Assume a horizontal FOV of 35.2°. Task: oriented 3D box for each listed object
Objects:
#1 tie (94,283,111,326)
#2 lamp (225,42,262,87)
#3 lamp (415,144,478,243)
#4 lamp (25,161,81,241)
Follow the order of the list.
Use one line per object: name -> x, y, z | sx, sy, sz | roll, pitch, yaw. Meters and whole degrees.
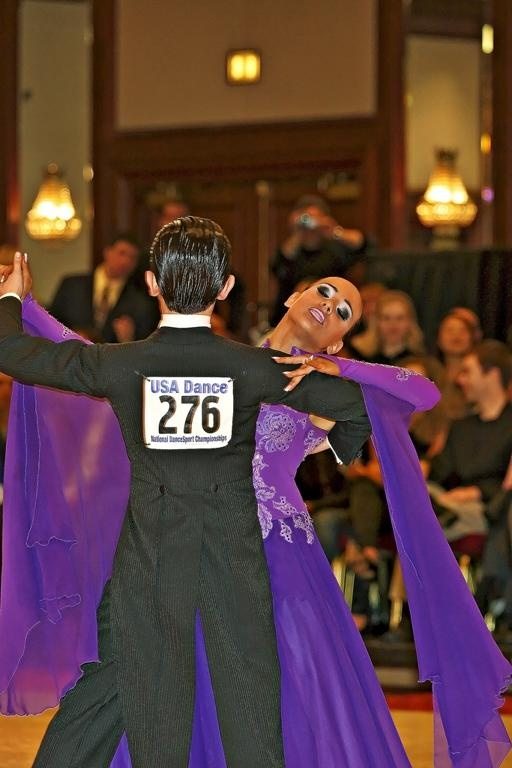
tie -> -0.919, -0.466, 4.817 | 0.092, 0.267, 0.042 | 3, -12, 22
lamp -> -0.064, -1.530, 3.873 | 0.180, 0.163, 0.183 | 1, 15, 2
lamp -> 1.137, -1.101, 4.790 | 0.376, 0.518, 0.350 | 0, 14, 13
lamp -> -1.360, -1.216, 5.447 | 0.390, 0.470, 0.354 | 6, 14, 14
